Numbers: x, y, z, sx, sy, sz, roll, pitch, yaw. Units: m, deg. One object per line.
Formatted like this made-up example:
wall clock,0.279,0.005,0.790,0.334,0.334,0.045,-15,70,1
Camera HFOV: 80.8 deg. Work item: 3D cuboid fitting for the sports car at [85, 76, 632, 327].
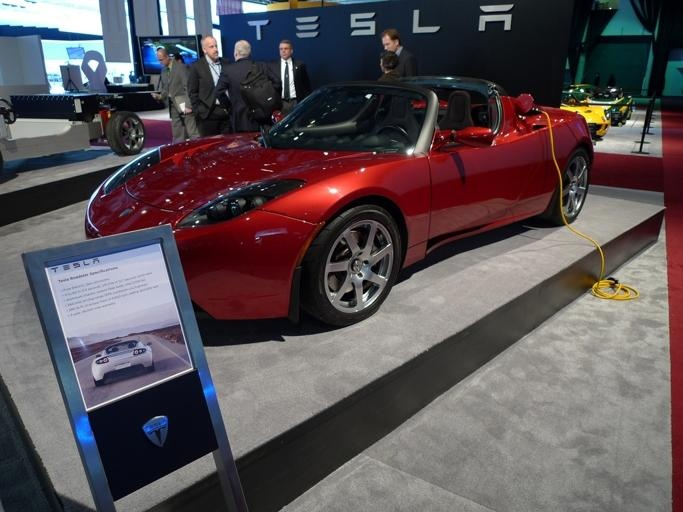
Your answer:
sports car,0.355,-0.366,3.280,3.740,1.173,2.005,-12,24,-33

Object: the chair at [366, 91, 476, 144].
chair,0.669,-1.038,3.230,0.749,0.316,0.544,-15,27,-33

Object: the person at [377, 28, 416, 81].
person,0.895,-3.231,6.365,0.521,0.694,0.831,0,23,4
